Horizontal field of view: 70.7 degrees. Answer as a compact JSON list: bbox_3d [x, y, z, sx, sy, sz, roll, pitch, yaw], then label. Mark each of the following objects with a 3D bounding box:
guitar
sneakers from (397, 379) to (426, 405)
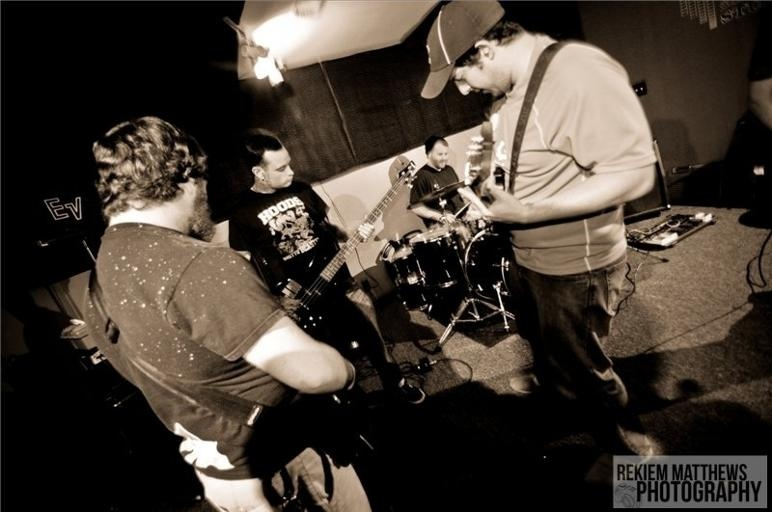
[{"bbox_3d":[-0.560,-0.114,6.113,2.699,0.786,0.268,-56,19,-24],"label":"guitar"},{"bbox_3d":[0.263,1.442,5.745,0.308,0.073,0.221,30,55,22],"label":"sneakers"}]
